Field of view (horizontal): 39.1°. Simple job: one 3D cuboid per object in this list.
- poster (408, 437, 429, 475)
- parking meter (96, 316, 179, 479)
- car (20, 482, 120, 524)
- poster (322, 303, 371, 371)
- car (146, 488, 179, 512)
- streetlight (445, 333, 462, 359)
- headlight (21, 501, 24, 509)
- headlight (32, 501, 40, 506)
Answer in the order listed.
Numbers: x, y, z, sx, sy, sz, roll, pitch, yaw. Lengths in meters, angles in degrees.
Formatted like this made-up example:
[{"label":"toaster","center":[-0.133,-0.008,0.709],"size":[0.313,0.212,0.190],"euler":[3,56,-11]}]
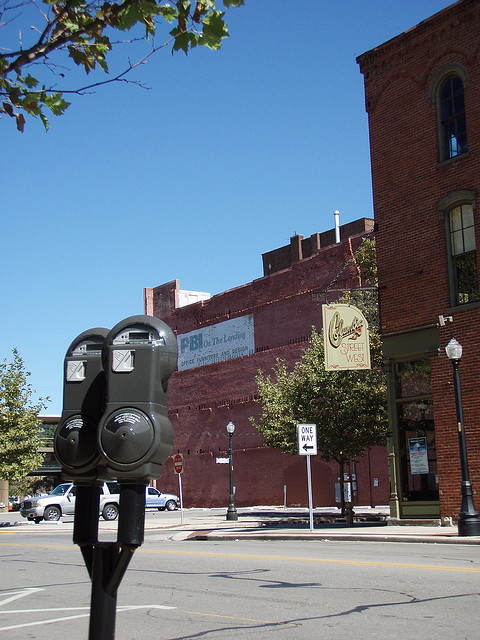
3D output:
[{"label":"poster","center":[5.030,3.797,18.987],"size":[0.203,0.966,0.698],"euler":[6,-16,-26]},{"label":"parking meter","center":[-0.372,0.271,2.487],"size":[0.280,0.601,0.185],"euler":[1,-14,-7]},{"label":"car","center":[-7.755,8.496,31.502],"size":[5.837,1.822,2.501],"euler":[-12,-18,35]},{"label":"poster","center":[2.951,0.426,18.693],"size":[0.868,2.121,0.968],"euler":[4,-12,-30]},{"label":"car","center":[-4.762,10.768,40.550],"size":[1.041,1.401,2.946],"euler":[-5,-15,15]},{"label":"streetlight","center":[5.037,0.667,15.893],"size":[0.308,0.561,0.612],"euler":[-5,-15,16]},{"label":"headlight","center":[-10.356,8.858,32.299],"size":[0.069,0.264,0.808],"euler":[3,-15,-15]},{"label":"headlight","center":[-9.525,8.552,31.605],"size":[0.334,0.201,0.117],"euler":[-9,-16,27]}]
